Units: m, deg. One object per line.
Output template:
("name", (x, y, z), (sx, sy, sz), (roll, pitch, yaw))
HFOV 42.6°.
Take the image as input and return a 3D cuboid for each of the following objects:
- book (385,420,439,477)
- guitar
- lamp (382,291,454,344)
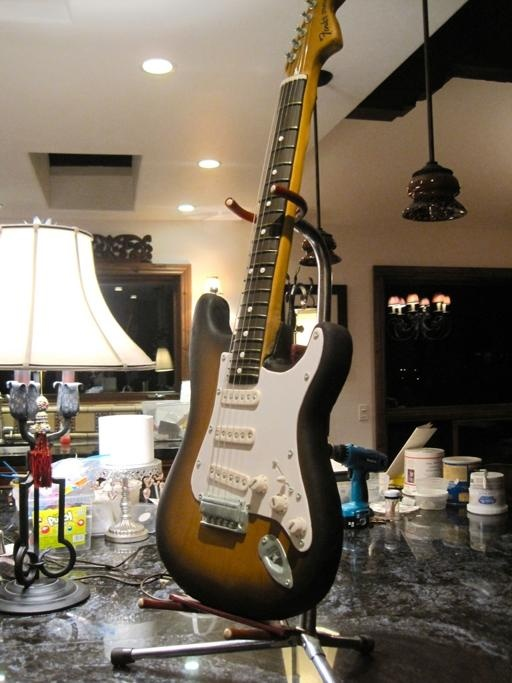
("book", (0.546, 0.379, 2.319), (0.154, 0.190, 0.315), (0, -3, 15))
("guitar", (0.009, -0.073, 0.927), (0.305, 0.874, 0.166), (-1, -3, 35))
("lamp", (1.421, -0.202, 5.749), (0.515, 0.343, 0.464), (0, 1, -13))
